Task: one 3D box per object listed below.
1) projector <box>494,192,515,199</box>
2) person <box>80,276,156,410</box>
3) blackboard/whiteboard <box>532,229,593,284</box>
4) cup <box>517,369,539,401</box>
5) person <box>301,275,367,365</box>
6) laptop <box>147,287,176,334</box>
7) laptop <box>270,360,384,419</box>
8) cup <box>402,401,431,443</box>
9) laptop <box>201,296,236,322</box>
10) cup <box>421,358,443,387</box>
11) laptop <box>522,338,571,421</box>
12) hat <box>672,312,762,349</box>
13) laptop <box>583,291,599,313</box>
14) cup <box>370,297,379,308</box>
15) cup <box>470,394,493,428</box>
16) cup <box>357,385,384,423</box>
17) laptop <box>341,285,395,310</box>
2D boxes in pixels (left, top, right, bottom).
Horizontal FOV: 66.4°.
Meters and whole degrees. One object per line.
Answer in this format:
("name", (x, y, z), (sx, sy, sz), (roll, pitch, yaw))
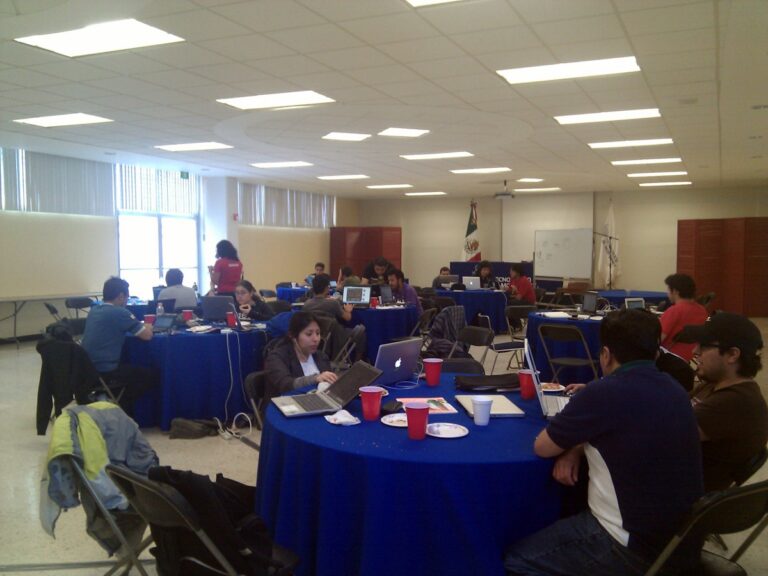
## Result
("projector", (2.508, -1.919, 12.254), (0.287, 0.071, 0.297), (-1, 1, -10))
("person", (-2.485, 0.499, 5.448), (0.616, 1.190, 0.560), (-6, 21, -40))
("blackboard/whiteboard", (4.292, -0.715, 13.834), (0.431, 1.114, 1.201), (4, -2, -43))
("cup", (0.849, 0.573, 3.444), (0.145, 0.159, 0.132), (-2, 1, 0))
("person", (-0.540, 0.358, 6.834), (0.572, 1.079, 0.705), (-9, 20, -18))
("laptop", (-2.472, 0.253, 6.500), (0.306, 0.332, 0.547), (0, 49, -11))
("laptop", (-0.317, 0.575, 3.346), (0.421, 0.182, 0.315), (3, 1, -20))
("cup", (0.167, 0.671, 2.951), (0.128, 0.146, 0.135), (0, -6, 0))
("laptop", (-1.746, 0.208, 6.128), (0.348, 0.264, 0.258), (2, 6, 8))
("cup", (0.308, 0.550, 3.792), (0.142, 0.158, 0.150), (0, -3, 0))
("laptop", (0.987, 0.497, 3.314), (0.361, 0.328, 0.483), (0, 10, 8))
("hat", (1.798, 0.238, 3.100), (0.301, 0.170, 0.202), (6, -3, 33))
("laptop", (2.478, 0.180, 6.978), (0.153, 0.306, 0.207), (-4, 7, -32))
("cup", (-0.121, 0.214, 7.997), (0.101, 0.209, 0.106), (1, 4, 0))
("cup", (0.512, 0.642, 3.054), (0.125, 0.136, 0.123), (0, -2, 0))
("cup", (-0.062, 0.623, 3.133), (0.147, 0.164, 0.157), (0, -5, 0))
("laptop", (-0.246, 0.145, 7.993), (0.449, 0.281, 0.343), (0, -8, -11))
